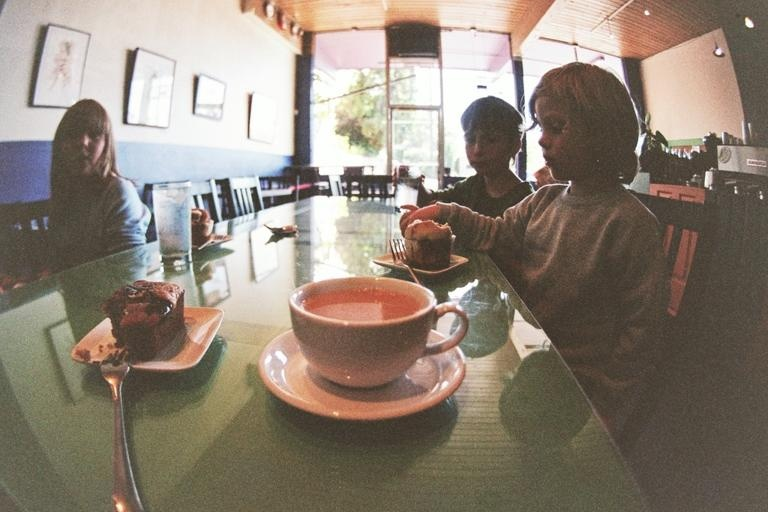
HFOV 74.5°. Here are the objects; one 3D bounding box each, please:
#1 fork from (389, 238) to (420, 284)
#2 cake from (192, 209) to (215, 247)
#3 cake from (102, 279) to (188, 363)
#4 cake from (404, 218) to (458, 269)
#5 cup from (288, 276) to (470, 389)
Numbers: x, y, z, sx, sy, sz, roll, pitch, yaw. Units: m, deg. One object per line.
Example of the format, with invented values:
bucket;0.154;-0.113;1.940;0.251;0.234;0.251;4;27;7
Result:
fork;0.044;0.003;1.084;0.025;0.025;0.173;4;28;-13
cake;-0.426;-0.069;1.183;0.076;0.073;0.076;1;0;-8
cake;-0.330;0.088;0.709;0.085;0.081;0.110;0;-6;-9
cake;0.096;-0.022;1.007;0.104;0.099;0.081;-2;7;7
cup;-0.006;0.080;0.645;0.186;0.084;0.151;1;15;-2
